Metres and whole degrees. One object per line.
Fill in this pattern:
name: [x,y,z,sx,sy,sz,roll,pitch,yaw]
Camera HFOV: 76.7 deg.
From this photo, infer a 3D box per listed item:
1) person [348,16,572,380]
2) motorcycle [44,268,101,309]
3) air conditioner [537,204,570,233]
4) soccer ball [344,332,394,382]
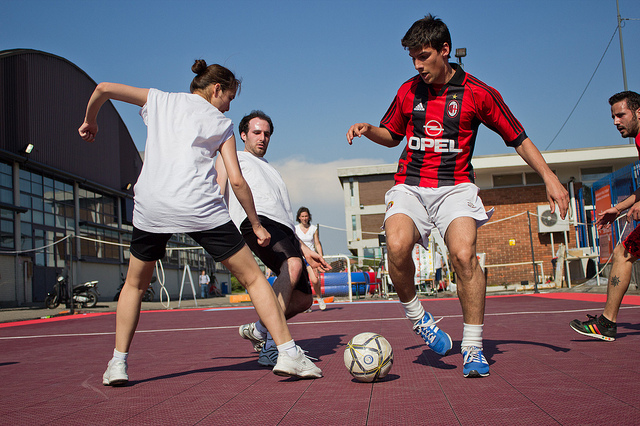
person: [1.073,-0.157,3.491,1.299,2.889,0.793,-9,-8,36]
motorcycle: [-10.802,3.381,17.676,2.177,1.575,0.811,0,0,-3]
air conditioner: [8.064,0.261,14.088,1.175,1.092,0.475,1,-6,-5]
soccer ball: [0.378,1.141,3.180,0.324,0.338,0.263,1,-9,-38]
